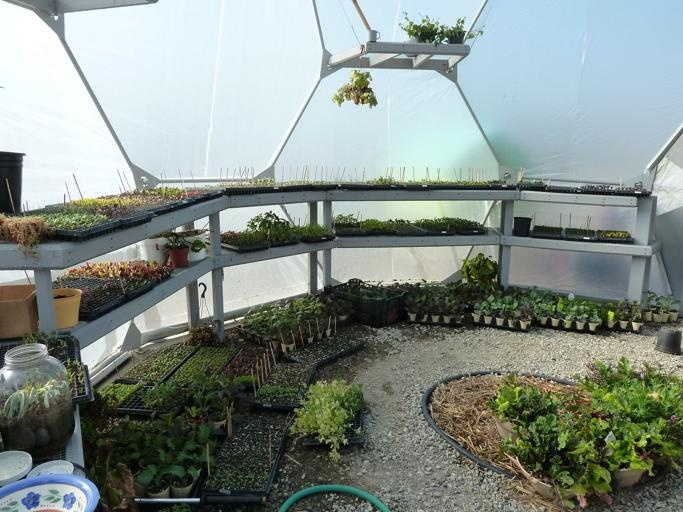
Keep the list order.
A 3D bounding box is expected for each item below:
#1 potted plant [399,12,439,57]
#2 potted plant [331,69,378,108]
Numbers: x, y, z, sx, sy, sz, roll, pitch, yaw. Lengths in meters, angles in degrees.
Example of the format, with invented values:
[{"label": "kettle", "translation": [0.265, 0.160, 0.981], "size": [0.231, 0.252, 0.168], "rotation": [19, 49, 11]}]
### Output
[{"label": "potted plant", "translation": [1.634, -4.656, 9.367], "size": [0.697, 0.669, 0.609], "rotation": [1, 9, 12]}, {"label": "potted plant", "translation": [0.334, -3.773, 10.144], "size": [0.829, 0.801, 0.522], "rotation": [6, 11, 36]}]
